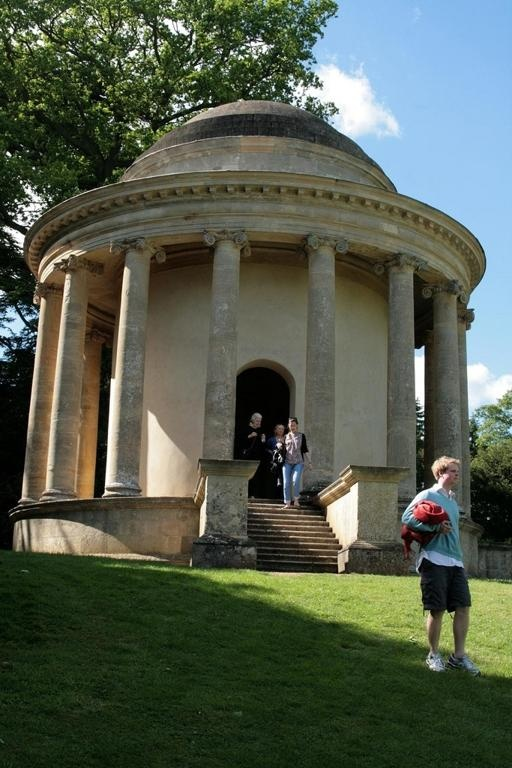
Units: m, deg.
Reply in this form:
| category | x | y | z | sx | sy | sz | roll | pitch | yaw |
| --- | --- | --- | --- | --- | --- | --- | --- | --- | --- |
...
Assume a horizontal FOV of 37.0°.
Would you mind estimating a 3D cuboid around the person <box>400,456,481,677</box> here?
| category | x | y | z | sx | sy | sz | roll | pitch | yaw |
| --- | --- | --- | --- | --- | --- | --- | --- | --- | --- |
| person | 1.572 | 1.496 | 6.444 | 0.712 | 1.774 | 0.878 | 5 | -7 | 14 |

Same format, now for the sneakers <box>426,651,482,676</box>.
| category | x | y | z | sx | sy | sz | roll | pitch | yaw |
| --- | --- | --- | --- | --- | --- | --- | --- | --- | --- |
| sneakers | 1.604 | 2.293 | 6.321 | 0.504 | 0.179 | 0.160 | 5 | -5 | 2 |
